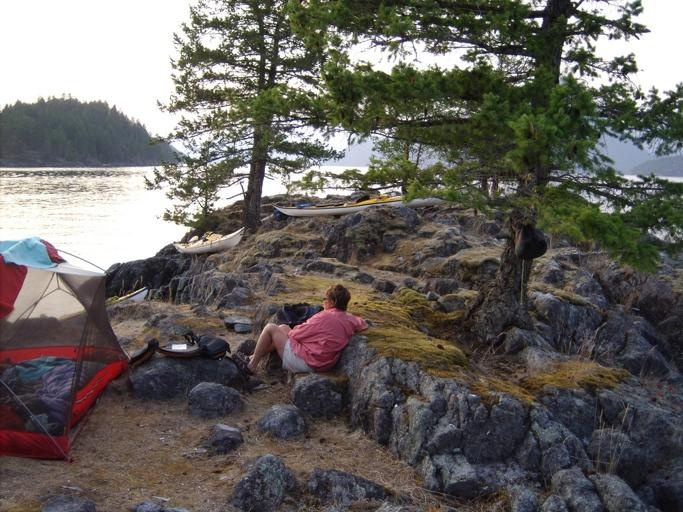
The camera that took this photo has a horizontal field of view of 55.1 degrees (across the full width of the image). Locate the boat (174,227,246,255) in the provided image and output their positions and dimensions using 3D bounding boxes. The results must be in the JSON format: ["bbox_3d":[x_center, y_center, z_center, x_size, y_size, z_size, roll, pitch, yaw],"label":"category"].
[{"bbox_3d":[-5.898,-0.342,28.447,4.156,1.015,1.113,-3,28,45],"label":"boat"}]
